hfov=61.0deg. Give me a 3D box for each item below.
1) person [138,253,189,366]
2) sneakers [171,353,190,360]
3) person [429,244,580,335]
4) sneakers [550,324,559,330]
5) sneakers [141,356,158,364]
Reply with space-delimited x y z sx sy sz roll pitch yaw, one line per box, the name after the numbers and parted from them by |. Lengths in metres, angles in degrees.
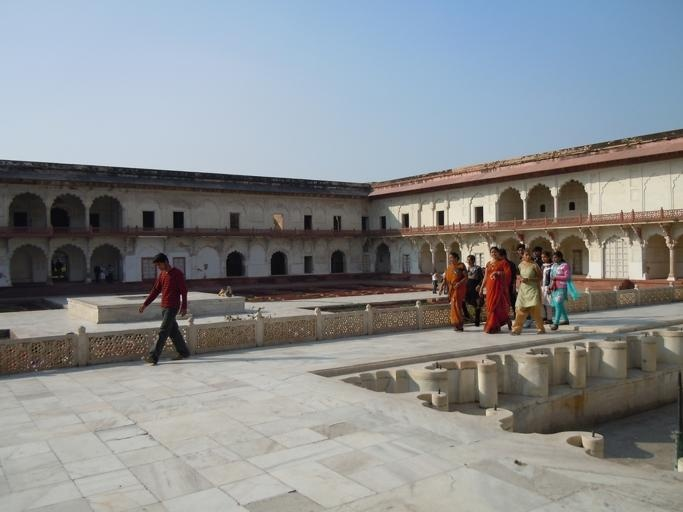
-2.437 0.707 8.000 0.620 1.497 1.286 -3 5 -17 | person
-2.264 1.403 8.136 0.265 0.095 0.095 5 -9 -9 | sneakers
2.844 0.575 9.654 0.896 1.490 0.876 -3 5 -19 | person
3.709 1.241 10.086 0.071 0.081 0.137 5 4 41 | sneakers
-2.598 1.392 7.869 0.169 0.132 0.304 -3 4 -19 | sneakers
